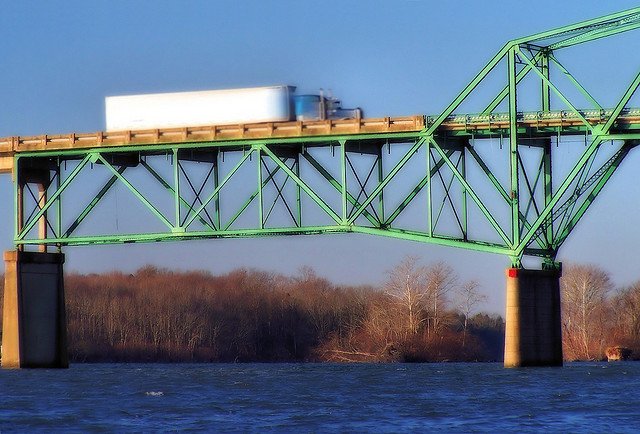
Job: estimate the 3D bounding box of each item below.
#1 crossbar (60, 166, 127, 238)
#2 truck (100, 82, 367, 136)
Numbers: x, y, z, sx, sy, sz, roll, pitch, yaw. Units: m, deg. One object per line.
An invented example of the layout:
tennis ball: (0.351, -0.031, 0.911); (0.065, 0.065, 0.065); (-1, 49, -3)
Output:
crossbar: (-13.863, -1.180, 105.557); (0.942, 6.685, 0.854); (43, -1, -30)
truck: (-8.578, -8.562, 140.482); (18.168, 3.041, 1.362); (-2, -9, 11)
